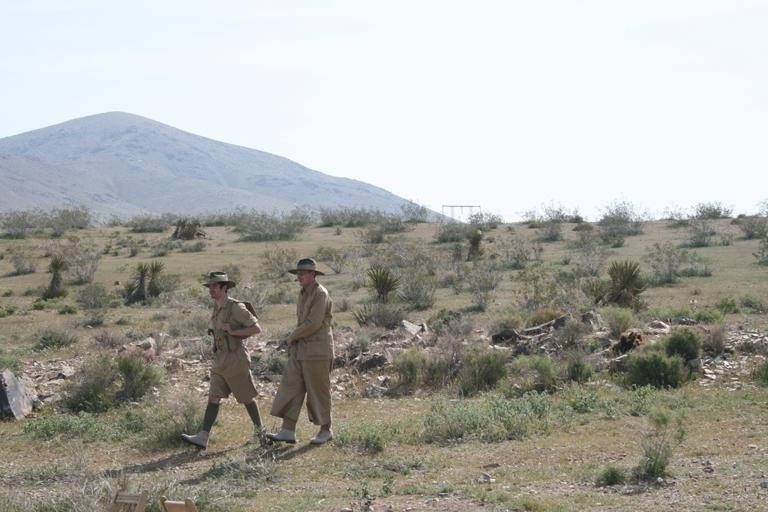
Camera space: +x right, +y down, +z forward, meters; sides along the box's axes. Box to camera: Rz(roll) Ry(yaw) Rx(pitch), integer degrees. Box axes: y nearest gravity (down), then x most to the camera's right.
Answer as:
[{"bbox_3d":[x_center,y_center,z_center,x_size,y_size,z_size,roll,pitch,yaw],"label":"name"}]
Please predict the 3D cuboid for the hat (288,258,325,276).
[{"bbox_3d":[-1.635,0.218,16.016,0.641,0.283,0.716,4,-4,-17],"label":"hat"}]

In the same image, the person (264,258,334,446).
[{"bbox_3d":[-1.559,1.942,15.762,1.066,3.775,0.934,-1,-1,26],"label":"person"}]

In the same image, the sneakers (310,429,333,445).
[{"bbox_3d":[-1.252,3.689,15.964,0.225,0.195,0.437,-4,-4,37],"label":"sneakers"}]
